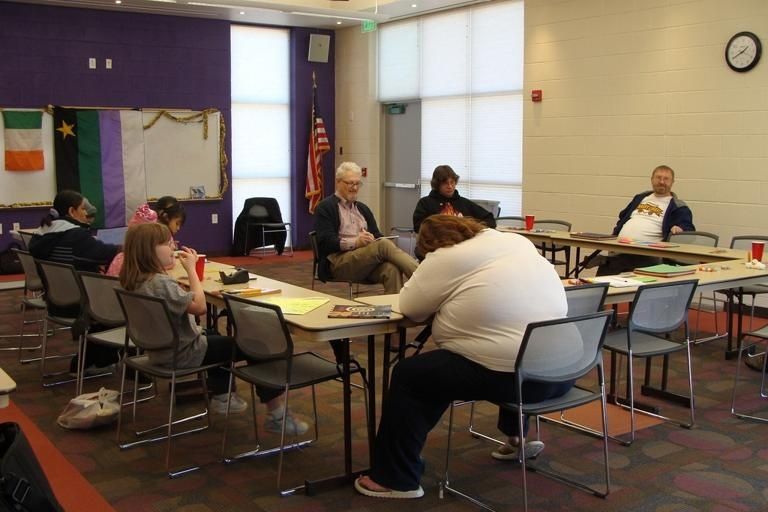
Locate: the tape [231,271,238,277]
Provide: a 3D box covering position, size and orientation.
[{"bbox_3d":[-1.098,0.127,4.151,0.041,0.029,0.064,-1,-4,-22],"label":"tape"}]

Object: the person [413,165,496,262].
[{"bbox_3d":[0.801,-0.427,6.075,0.998,1.033,0.846,2,2,-7],"label":"person"}]

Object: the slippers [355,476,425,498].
[{"bbox_3d":[0.031,1.264,3.142,0.342,0.110,0.129,5,4,13],"label":"slippers"}]

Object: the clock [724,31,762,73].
[{"bbox_3d":[4.002,-2.282,6.280,0.094,0.442,0.355,-10,15,-29],"label":"clock"}]

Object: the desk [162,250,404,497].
[{"bbox_3d":[-0.668,0.806,3.627,0.529,0.601,1.403,-6,11,-35],"label":"desk"}]

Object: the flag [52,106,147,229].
[{"bbox_3d":[-4.546,-1.408,8.999,0.090,1.947,1.547,8,12,28],"label":"flag"}]

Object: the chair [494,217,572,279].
[{"bbox_3d":[1.316,-0.112,4.882,0.338,0.433,0.888,-2,4,-19],"label":"chair"}]

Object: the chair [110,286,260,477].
[{"bbox_3d":[-1.275,0.778,3.687,0.798,1.017,0.737,-3,1,-27],"label":"chair"}]

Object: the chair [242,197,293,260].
[{"bbox_3d":[-2.075,-0.525,9.988,1.033,0.926,0.812,-4,8,-32],"label":"chair"}]
